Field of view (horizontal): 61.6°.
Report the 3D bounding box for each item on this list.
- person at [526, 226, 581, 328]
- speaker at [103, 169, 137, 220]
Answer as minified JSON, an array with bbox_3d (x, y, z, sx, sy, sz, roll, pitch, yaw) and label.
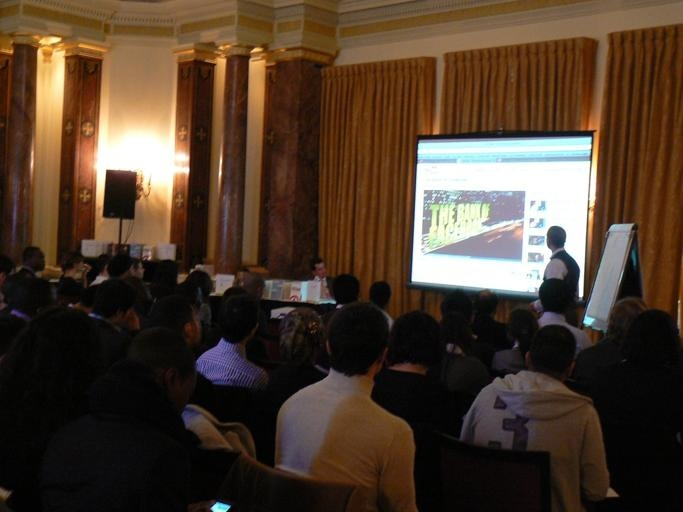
[{"bbox_3d":[1.992,0.366,5.513,0.363,1.270,0.360,14,19,42],"label":"person"},{"bbox_3d":[-3.257,-0.912,8.358,0.430,0.703,0.220,3,2,-29],"label":"speaker"}]
